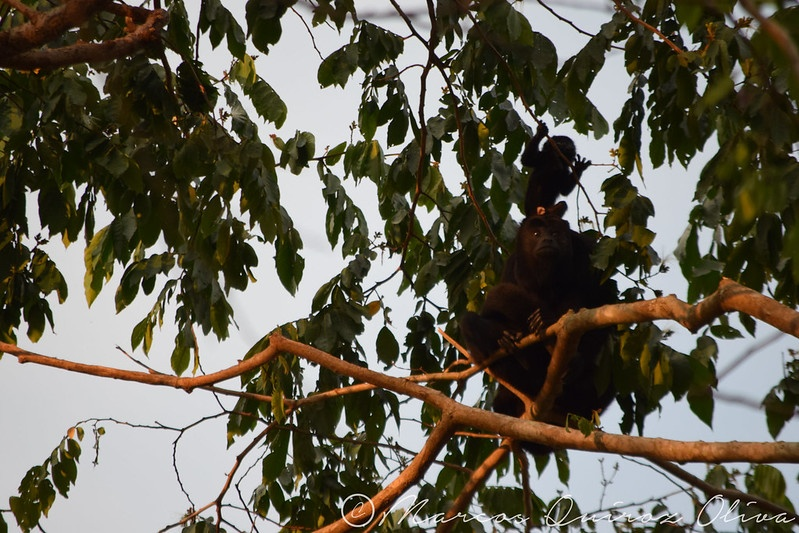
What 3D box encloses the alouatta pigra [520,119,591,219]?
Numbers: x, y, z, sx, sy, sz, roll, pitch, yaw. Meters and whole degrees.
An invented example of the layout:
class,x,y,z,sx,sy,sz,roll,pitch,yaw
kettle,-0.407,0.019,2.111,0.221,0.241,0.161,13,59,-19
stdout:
class,x,y,z,sx,sy,sz,roll,pitch,yaw
alouatta pigra,1.124,-0.639,11.383,0.465,0.291,0.807,11,-37,-8
